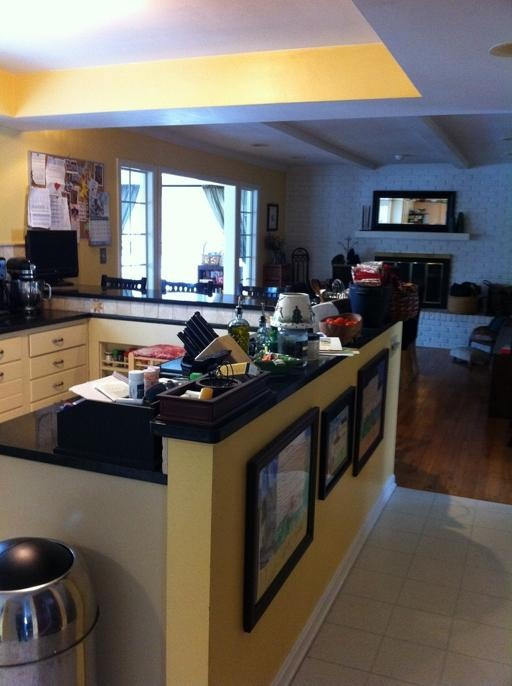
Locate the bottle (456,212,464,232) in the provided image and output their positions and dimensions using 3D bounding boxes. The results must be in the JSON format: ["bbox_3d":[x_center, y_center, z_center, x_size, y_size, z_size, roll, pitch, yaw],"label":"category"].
[{"bbox_3d":[3.322,-1.961,8.884,0.170,0.325,0.169,2,10,0],"label":"bottle"}]

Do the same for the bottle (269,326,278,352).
[{"bbox_3d":[0.062,-0.013,1.932,0.031,0.091,0.049,2,10,2],"label":"bottle"}]

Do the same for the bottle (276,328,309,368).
[{"bbox_3d":[0.133,0.000,1.911,0.111,0.113,0.095,1,10,-7],"label":"bottle"}]

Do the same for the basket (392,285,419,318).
[{"bbox_3d":[0.863,-0.240,3.140,0.055,0.204,0.261,9,13,36],"label":"basket"}]

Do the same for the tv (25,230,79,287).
[{"bbox_3d":[-1.768,-0.733,4.673,0.161,0.400,0.554,4,12,14],"label":"tv"}]

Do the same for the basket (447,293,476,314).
[{"bbox_3d":[3.261,-0.623,8.645,0.334,0.225,0.329,1,4,-7],"label":"basket"}]

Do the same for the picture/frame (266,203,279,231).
[{"bbox_3d":[0.274,-2.243,9.682,0.052,0.504,0.521,3,8,21],"label":"picture/frame"}]

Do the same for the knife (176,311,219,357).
[{"bbox_3d":[-0.204,-0.029,1.757,0.043,0.154,0.112,3,41,50],"label":"knife"}]

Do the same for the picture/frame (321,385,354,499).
[{"bbox_3d":[0.323,0.379,2.177,0.038,0.447,0.464,6,17,23],"label":"picture/frame"}]

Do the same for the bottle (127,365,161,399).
[{"bbox_3d":[-0.308,0.114,1.522,0.060,0.103,0.104,3,5,6],"label":"bottle"}]

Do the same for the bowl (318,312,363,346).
[{"bbox_3d":[0.369,-0.059,2.372,0.151,0.104,0.354,5,10,17],"label":"bowl"}]
